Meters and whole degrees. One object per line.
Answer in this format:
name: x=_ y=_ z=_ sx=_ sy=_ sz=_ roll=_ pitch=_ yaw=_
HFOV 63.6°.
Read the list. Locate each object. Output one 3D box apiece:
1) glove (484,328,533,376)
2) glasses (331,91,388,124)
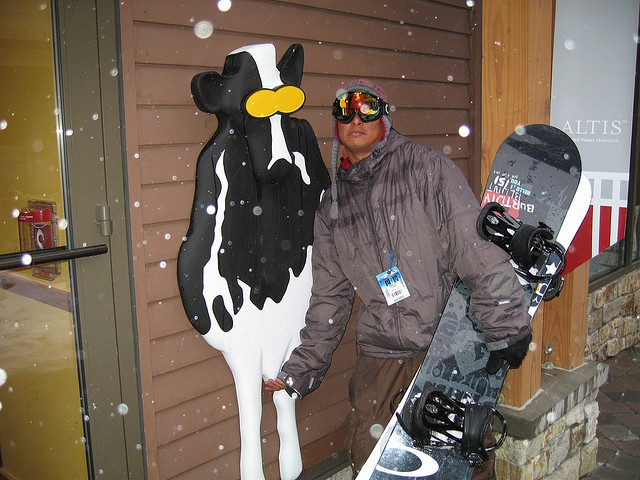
glove: x=0.886 y=0.530 z=2.497 sx=0.181 sy=0.225 sz=0.225 roll=-9 pitch=13 yaw=-40
glasses: x=0.197 y=-0.669 z=2.591 sx=0.181 sy=0.103 sz=0.177 roll=1 pitch=8 yaw=13
